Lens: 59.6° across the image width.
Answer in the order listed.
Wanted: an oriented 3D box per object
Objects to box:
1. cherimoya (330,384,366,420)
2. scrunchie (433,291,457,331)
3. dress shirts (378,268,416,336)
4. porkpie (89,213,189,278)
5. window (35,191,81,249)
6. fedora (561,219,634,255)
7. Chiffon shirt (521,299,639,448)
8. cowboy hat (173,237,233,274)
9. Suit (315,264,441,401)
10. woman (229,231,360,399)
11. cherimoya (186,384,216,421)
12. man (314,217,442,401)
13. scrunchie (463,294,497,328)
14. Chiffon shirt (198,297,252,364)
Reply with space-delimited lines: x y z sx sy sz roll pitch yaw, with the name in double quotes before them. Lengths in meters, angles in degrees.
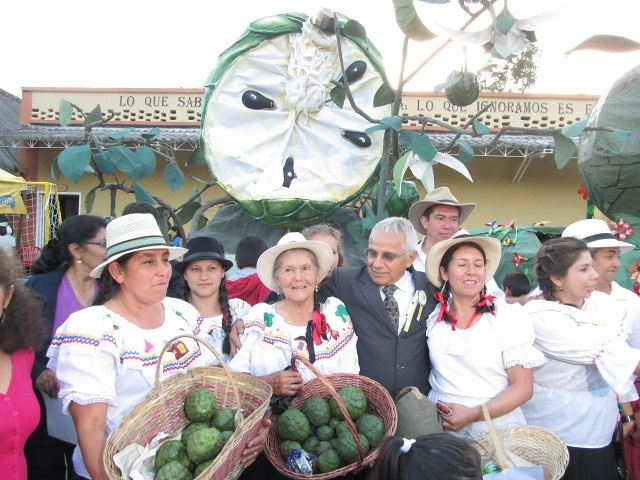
"cherimoya" 0.206 1.084 3.830 0.213 0.213 0.247 -14 -4 -4
"scrunchie" 0.952 0.508 4.179 0.144 0.116 0.357 -2 31 10
"dress shirts" 0.638 0.520 4.465 0.273 0.435 0.106 9 -16 -21
"porkpie" -1.214 0.026 3.732 0.470 0.247 0.460 -19 -3 25
"window" -5.718 -0.520 12.043 0.717 1.217 0.667 -1 -9 -27
"fedora" 2.387 -0.056 4.839 0.499 0.154 0.423 -8 0 18
"Chiffon shirt" 1.862 1.007 4.629 1.094 1.228 0.893 -4 0 16
"cowboy hat" -0.990 0.059 4.704 0.452 0.212 0.424 3 0 14
"Suit" 0.549 0.731 4.452 1.439 1.069 0.450 3 3 2
"woman" -0.190 0.601 4.226 1.149 1.396 0.474 1 -13 -14
"cherimoya" -0.769 1.069 3.593 0.207 0.222 0.164 1 3 -12
"man" 0.447 0.570 4.312 1.457 1.573 0.477 0 -3 -8
"scrunchie" 1.179 0.491 4.144 0.218 0.089 0.322 -8 7 42
"Chiffon shirt" -0.757 0.657 4.496 0.359 0.419 0.155 2 -22 7
